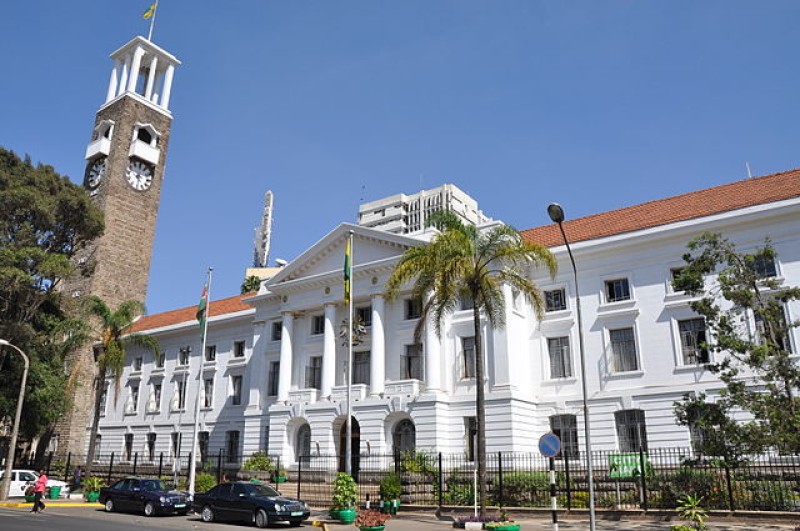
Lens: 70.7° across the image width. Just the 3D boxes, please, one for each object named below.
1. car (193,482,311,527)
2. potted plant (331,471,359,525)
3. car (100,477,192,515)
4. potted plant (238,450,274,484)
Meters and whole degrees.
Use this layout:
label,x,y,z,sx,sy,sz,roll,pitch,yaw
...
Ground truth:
label,x,y,z,sx,sy,sz,roll,pitch,yaw
car,-7.954,12.552,29.535,6.366,2.147,1.431,-14,-25,28
potted plant,-2.962,12.314,29.788,1.176,2.525,1.222,1,-21,-4
car,-14.930,13.719,33.387,6.008,2.088,1.543,-12,-24,25
potted plant,-10.796,15.214,42.765,2.934,2.256,2.075,-8,-23,17
